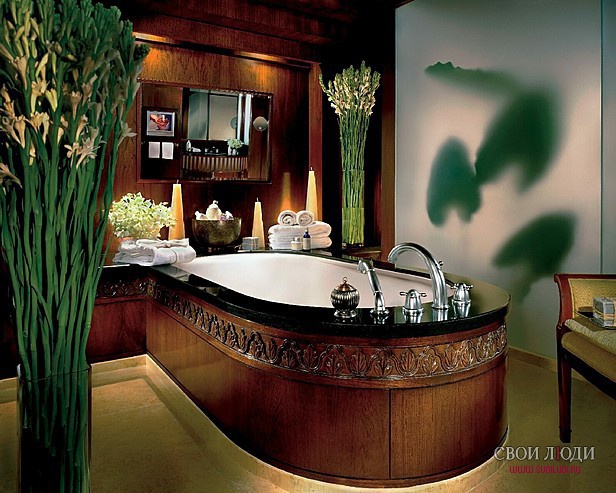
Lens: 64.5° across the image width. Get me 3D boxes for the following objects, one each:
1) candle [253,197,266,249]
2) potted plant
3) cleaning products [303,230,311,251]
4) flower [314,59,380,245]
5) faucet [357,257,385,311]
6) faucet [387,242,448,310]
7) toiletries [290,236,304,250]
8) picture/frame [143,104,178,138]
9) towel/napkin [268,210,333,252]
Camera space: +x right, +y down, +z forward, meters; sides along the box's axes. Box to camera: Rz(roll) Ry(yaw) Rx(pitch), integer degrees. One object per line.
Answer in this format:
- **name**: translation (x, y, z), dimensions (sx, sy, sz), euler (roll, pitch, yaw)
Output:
- **candle**: translation (-0.397, -0.187, 3.880), dimensions (0.097, 0.356, 0.457), euler (-1, 7, -7)
- **potted plant**: translation (-1.137, -0.200, 3.289), dimensions (0.325, 0.273, 0.328), euler (4, 4, -40)
- **cleaning products**: translation (-0.009, -0.055, 3.612), dimensions (0.055, 0.138, 0.190), euler (-1, 7, -1)
- **flower**: translation (0.355, -0.706, 3.808), dimensions (0.381, 1.395, 0.158), euler (0, 6, 4)
- **faucet**: translation (0.254, 0.150, 1.941), dimensions (0.107, 0.216, 0.316), euler (0, 7, 6)
- **faucet**: translation (0.454, 0.106, 2.009), dimensions (0.238, 0.278, 0.332), euler (1, 7, 12)
- **toiletries**: translation (-0.080, -0.028, 3.553), dimensions (0.076, 0.088, 0.083), euler (1, 0, -21)
- **picture/frame**: translation (-1.076, -0.912, 3.519), dimensions (0.220, 0.229, 0.025), euler (0, 1, -32)
- **towel/napkin**: translation (-0.066, -0.174, 3.736), dimensions (0.307, 0.234, 0.337), euler (-2, 6, -17)
